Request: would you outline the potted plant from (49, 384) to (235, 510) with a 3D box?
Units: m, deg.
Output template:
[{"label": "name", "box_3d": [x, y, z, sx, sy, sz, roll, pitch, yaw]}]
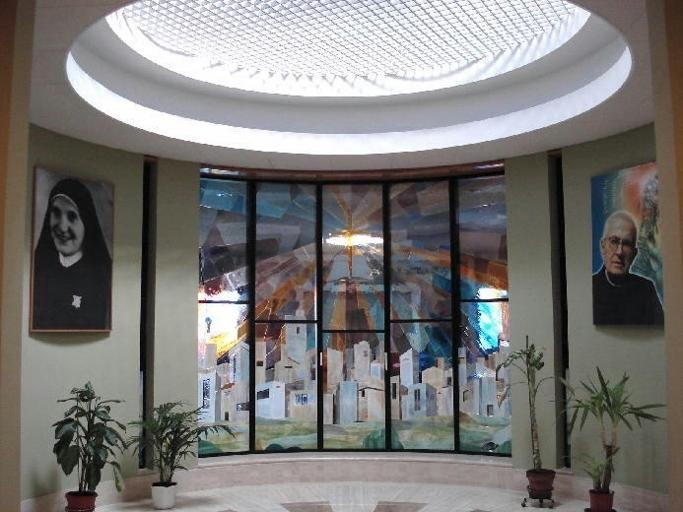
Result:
[{"label": "potted plant", "box_3d": [-2.249, 2.049, 7.013, 1.855, 1.373, 1.089, 3, -5, -42]}]
